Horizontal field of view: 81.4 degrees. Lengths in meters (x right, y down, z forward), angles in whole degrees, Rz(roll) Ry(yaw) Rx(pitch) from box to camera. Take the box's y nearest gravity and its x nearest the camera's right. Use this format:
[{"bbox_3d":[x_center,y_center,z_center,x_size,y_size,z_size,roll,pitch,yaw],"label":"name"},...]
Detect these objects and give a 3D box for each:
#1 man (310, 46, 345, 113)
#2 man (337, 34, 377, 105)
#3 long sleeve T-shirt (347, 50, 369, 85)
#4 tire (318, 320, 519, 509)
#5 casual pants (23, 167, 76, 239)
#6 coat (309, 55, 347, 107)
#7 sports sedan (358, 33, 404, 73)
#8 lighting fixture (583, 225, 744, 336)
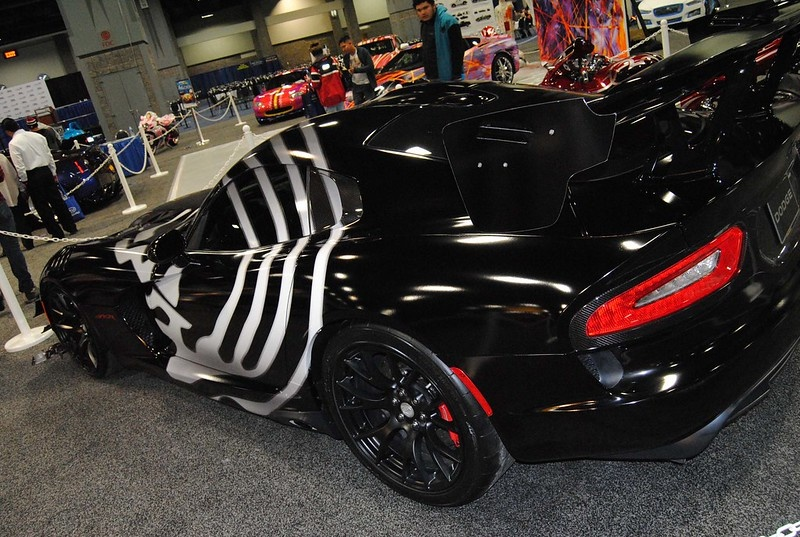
[{"bbox_3d":[-1.785,-4.701,11.319,0.690,1.453,0.517,-35,41,-23],"label":"man"},{"bbox_3d":[-0.915,-4.298,10.779,0.661,1.768,0.558,-15,25,-19],"label":"man"},{"bbox_3d":[-0.927,-4.552,10.545,0.544,0.677,0.422,24,58,28],"label":"long sleeve T-shirt"},{"bbox_3d":[0.108,0.670,2.193,0.883,0.900,0.299,11,26,35],"label":"tire"},{"bbox_3d":[-6.937,-1.437,9.631,0.530,1.688,0.469,2,13,38],"label":"casual pants"},{"bbox_3d":[-1.767,-4.571,11.475,0.920,1.120,0.608,-34,32,-28],"label":"coat"},{"bbox_3d":[-0.567,-6.340,13.651,0.919,0.710,2.119,-5,25,18],"label":"sports sedan"},{"bbox_3d":[1.063,0.104,1.824,0.761,0.173,0.155,-15,-21,-8],"label":"lighting fixture"}]
